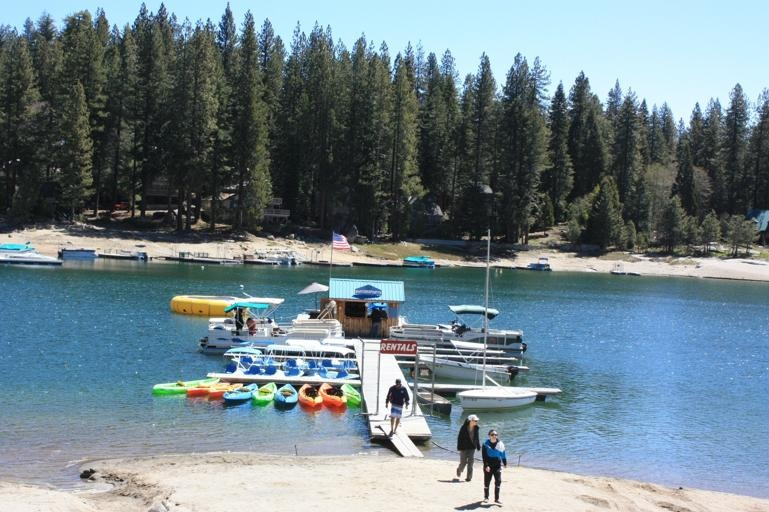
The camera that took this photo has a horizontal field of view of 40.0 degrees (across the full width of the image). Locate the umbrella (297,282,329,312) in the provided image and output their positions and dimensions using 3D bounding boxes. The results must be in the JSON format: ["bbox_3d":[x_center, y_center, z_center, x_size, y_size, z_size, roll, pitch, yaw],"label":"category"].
[{"bbox_3d":[-6.947,4.655,106.370,3.312,2.685,3.496,0,6,1],"label":"umbrella"}]

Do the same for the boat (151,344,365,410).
[{"bbox_3d":[-8.673,10.668,98.187,12.542,3.540,7.287,3,9,-3],"label":"boat"}]

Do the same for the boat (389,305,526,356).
[{"bbox_3d":[7.874,7.862,106.697,15.634,6.819,5.376,0,6,-5],"label":"boat"}]

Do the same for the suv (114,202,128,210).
[{"bbox_3d":[-42.344,-8.209,168.959,2.358,1.312,1.499,3,1,-18],"label":"suv"}]
